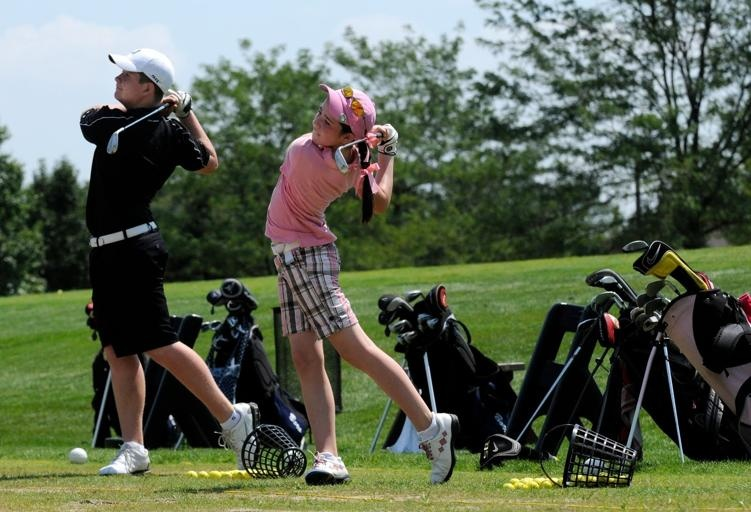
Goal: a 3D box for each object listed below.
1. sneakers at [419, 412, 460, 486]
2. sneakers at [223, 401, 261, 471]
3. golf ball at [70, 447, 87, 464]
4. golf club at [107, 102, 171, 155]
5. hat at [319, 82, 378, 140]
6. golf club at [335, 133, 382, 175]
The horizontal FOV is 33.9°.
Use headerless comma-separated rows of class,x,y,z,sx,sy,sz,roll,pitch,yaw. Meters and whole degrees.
sneakers,0.533,1.613,10.549,0.267,0.597,0.202,10,-7,-22
sneakers,-1.147,1.494,10.806,0.287,0.665,0.219,-1,-1,-35
golf ball,-2.846,1.911,11.970,0.138,0.133,0.136,2,-46,2
golf club,-2.067,-1.153,10.727,0.340,0.523,0.244,34,-16,40
hat,-0.223,-1.228,10.435,0.448,0.450,0.264,-2,0,-3
golf club,-0.143,-0.878,10.385,0.287,0.370,0.390,1,4,13
